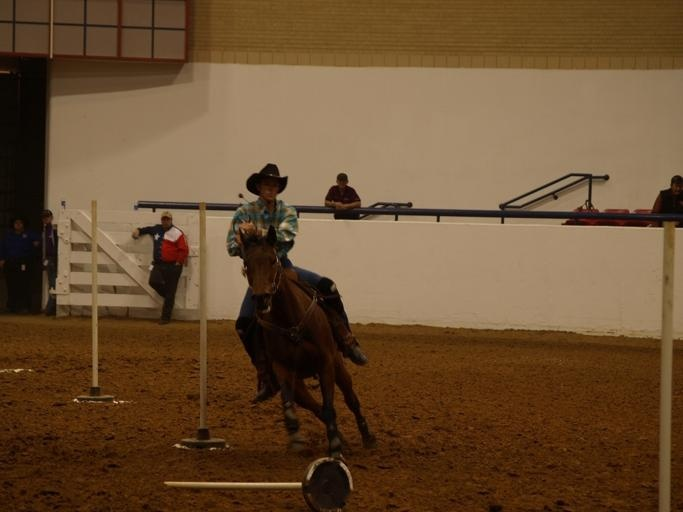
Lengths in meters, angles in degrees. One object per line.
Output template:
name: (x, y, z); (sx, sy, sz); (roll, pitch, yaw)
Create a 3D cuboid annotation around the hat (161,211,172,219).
hat: (-4.004, -0.940, 24.031); (0.232, 0.155, 0.242); (-3, 15, -17)

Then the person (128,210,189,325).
person: (-4.081, 0.230, 24.157); (1.062, 2.489, 0.790); (3, 12, 8)

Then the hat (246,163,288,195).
hat: (-1.209, -1.255, 17.128); (0.570, 0.576, 0.711); (-5, 15, -25)
